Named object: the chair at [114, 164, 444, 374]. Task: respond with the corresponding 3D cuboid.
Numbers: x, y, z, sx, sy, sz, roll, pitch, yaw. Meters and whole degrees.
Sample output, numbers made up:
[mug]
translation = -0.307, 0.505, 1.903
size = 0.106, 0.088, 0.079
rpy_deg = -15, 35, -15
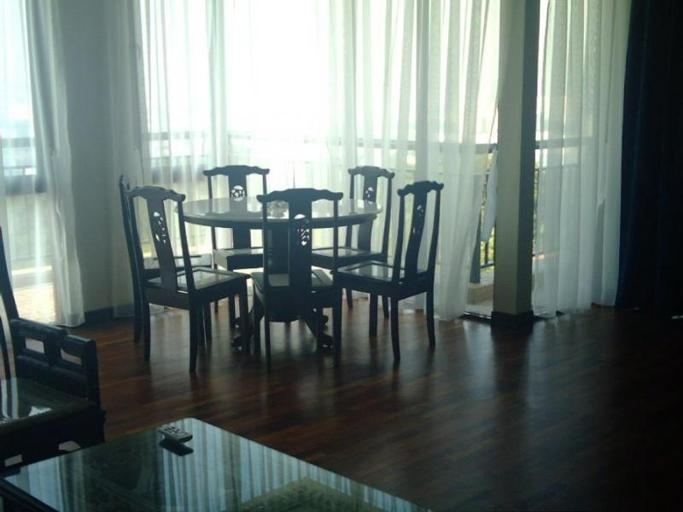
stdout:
[chair]
translation = -0.368, 0.044, 4.198
size = 2.096, 1.137, 0.854
rpy_deg = -1, 13, -3
